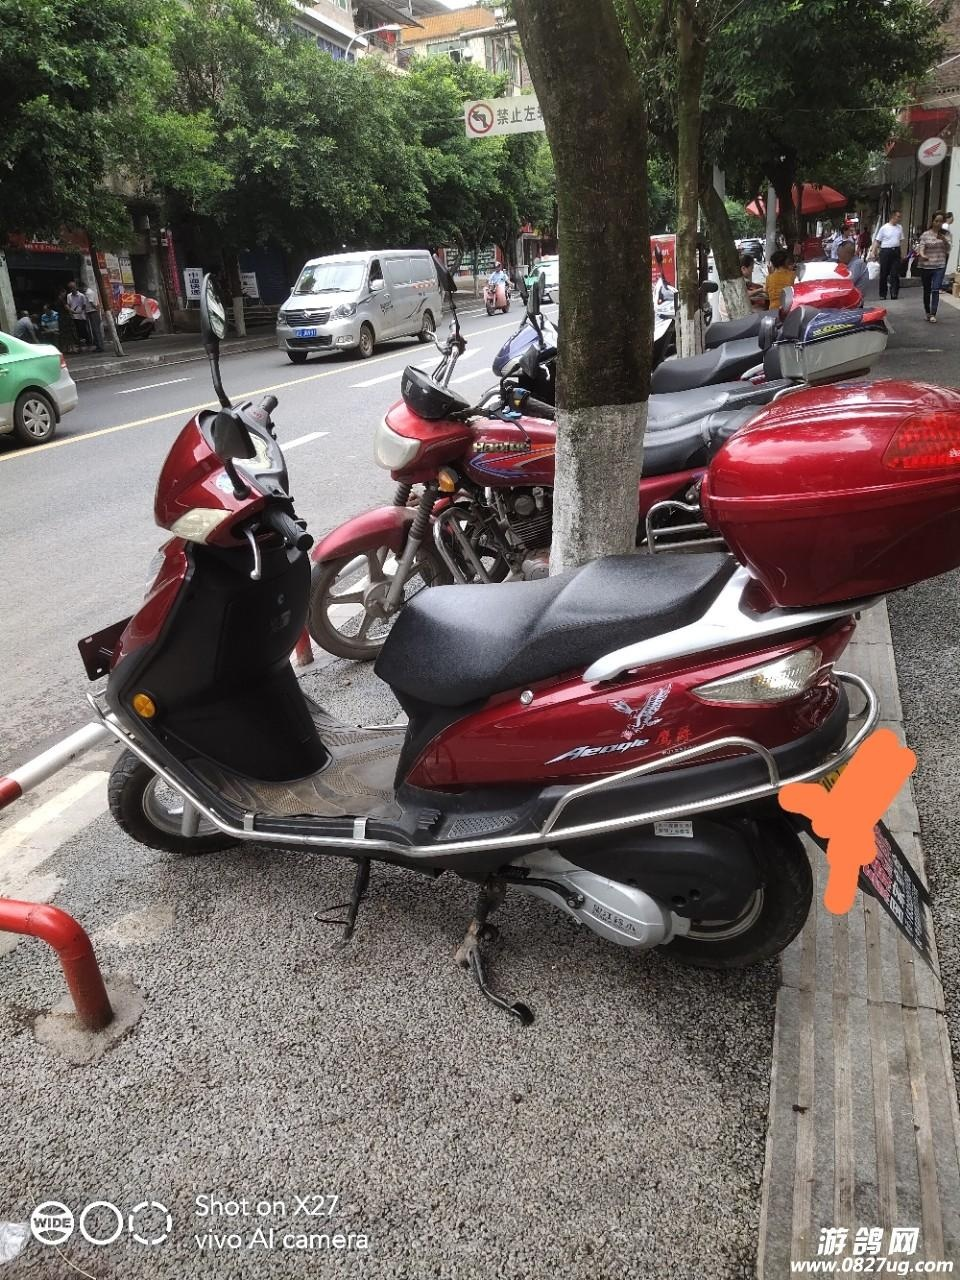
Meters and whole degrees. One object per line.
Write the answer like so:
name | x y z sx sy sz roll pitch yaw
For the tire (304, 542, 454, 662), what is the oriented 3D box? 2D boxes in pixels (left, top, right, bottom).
tire | -0.386 -0.144 3.449 0.368 0.371 0.372 19 46 35

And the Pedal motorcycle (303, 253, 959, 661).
Pedal motorcycle | 0.815 -0.757 4.555 3.086 1.703 1.443 -8 37 5

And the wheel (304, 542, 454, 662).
wheel | -0.386 -0.144 3.449 0.368 0.371 0.372 -7 36 5

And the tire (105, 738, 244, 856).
tire | -0.904 0.509 2.666 0.361 0.355 0.091 3 54 42

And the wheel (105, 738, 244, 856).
wheel | -0.907 0.508 2.664 0.361 0.355 0.091 3 54 42
